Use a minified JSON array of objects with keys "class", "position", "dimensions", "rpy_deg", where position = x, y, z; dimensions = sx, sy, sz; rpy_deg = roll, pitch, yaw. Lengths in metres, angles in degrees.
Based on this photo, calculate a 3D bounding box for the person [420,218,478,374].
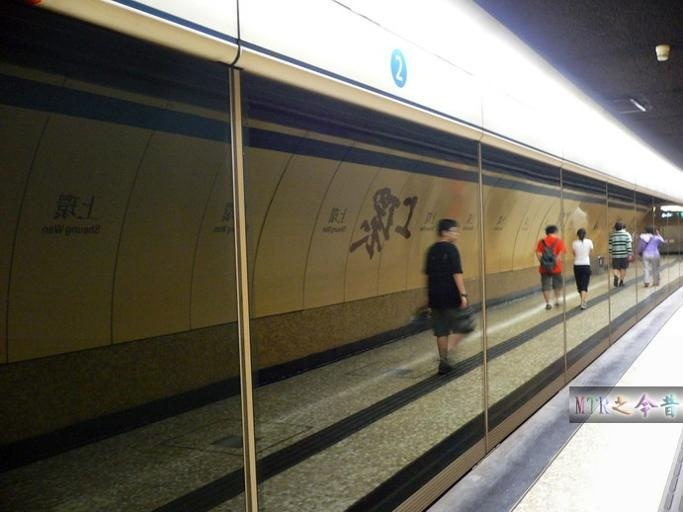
[{"class":"person","position":[0.931,0.229,3.811],"dimensions":[0.432,1.107,0.377],"rpy_deg":[2,2,11]}]

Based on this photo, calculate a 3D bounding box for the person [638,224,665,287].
[{"class":"person","position":[7.584,0.027,10.843],"dimensions":[0.470,1.157,2.365],"rpy_deg":[3,4,37]}]

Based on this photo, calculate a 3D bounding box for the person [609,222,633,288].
[{"class":"person","position":[5.362,-0.025,8.573],"dimensions":[0.201,0.890,1.423],"rpy_deg":[3,4,40]}]
